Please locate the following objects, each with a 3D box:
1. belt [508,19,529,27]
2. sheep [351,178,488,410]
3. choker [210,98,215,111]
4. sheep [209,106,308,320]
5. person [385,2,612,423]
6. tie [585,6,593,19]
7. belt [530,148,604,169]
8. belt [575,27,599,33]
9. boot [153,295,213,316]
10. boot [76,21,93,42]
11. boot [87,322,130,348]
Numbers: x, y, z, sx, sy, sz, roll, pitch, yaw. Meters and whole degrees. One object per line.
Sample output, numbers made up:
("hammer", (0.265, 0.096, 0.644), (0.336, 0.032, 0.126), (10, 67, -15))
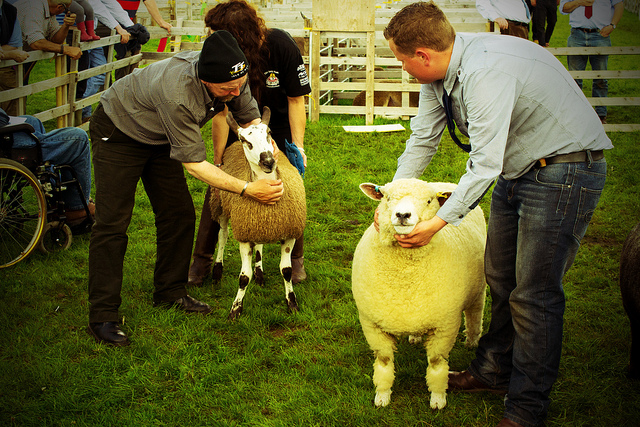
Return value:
("belt", (4.353, -4.172, 10.806), (0.241, 0.062, 0.231), (13, 12, 4))
("sheep", (0.790, 0.447, 4.891), (1.027, 1.863, 2.127), (1, 9, 16))
("choker", (-1.029, -1.041, 4.693), (0.026, 0.094, 0.096), (16, 19, 29))
("sheep", (-0.780, 0.005, 5.948), (0.930, 2.471, 2.710), (-4, 15, -18))
("person", (1.421, 0.082, 3.950), (1.468, 3.258, 0.962), (9, 18, 25))
("tie", (5.766, -4.284, 10.518), (0.088, 0.330, 0.012), (1, -23, 19))
("belt", (1.931, -0.413, 3.794), (0.564, 0.169, 0.103), (0, 17, -4))
("belt", (5.783, -3.944, 10.606), (0.390, 0.090, 0.113), (10, 19, 24))
("boot", (-1.484, 0.969, 5.462), (0.626, 0.276, 0.220), (1, 18, 1))
("boot", (-4.568, -3.518, 9.563), (0.306, 0.335, 0.264), (14, 21, 35))
("boot", (-2.101, 1.189, 4.937), (0.444, 0.204, 0.194), (11, 16, 28))
